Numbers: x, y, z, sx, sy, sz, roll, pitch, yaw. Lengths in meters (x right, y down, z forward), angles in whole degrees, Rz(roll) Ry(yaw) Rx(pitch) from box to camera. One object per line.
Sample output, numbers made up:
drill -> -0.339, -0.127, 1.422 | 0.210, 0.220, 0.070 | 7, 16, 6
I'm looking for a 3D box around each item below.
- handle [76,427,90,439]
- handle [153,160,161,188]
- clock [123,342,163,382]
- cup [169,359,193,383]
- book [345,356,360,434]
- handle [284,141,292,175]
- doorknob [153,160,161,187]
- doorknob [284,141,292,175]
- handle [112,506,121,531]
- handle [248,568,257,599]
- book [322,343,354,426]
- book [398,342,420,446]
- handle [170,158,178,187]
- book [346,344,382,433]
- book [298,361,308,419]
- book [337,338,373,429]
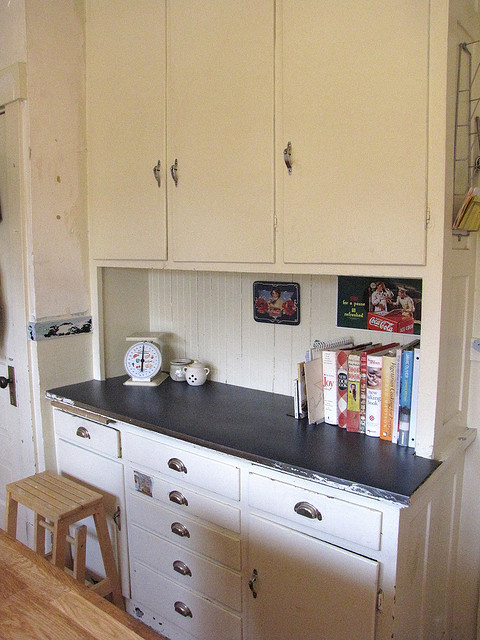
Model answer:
handle -> -0.598, 0.424, 1.971 | 0.036, 0.048, 0.012 | 12, 13, 26
handle -> -0.297, -0.531, 1.879 | 0.027, 0.098, 0.014 | -1, 6, 3
clock -> -0.421, 0.208, 2.253 | 0.148, 0.220, 0.114 | 2, -34, -9
cup -> -0.259, 0.223, 2.293 | 0.094, 0.089, 0.080 | 2, 8, 28
book -> 0.341, 0.218, 1.564 | 0.054, 0.218, 0.188 | 1, 3, 18
handle -> 0.140, -0.473, 1.522 | 0.020, 0.092, 0.023 | -1, 1, -40
doorknob -> -0.300, -0.526, 1.880 | 0.022, 0.103, 0.020 | -9, 14, -19
doorknob -> 0.139, -0.473, 1.514 | 0.019, 0.091, 0.023 | -6, 8, -27
handle -> -0.446, 0.721, 1.889 | 0.036, 0.094, 0.006 | 3, 8, 34
handle -> 0.039, 0.751, 1.477 | 0.024, 0.098, 0.026 | -1, 6, -1
book -> 0.304, 0.205, 1.607 | 0.056, 0.219, 0.190 | 0, 6, 22
book -> 0.464, 0.210, 1.425 | 0.064, 0.250, 0.219 | 2, 0, 24
handle -> -0.231, -0.517, 1.834 | 0.017, 0.105, 0.016 | -3, 8, -15
book -> 0.401, 0.216, 1.643 | 0.065, 0.241, 0.207 | -1, 1, 34
book -> 0.202, 0.228, 1.676 | 0.028, 0.205, 0.096 | -1, 7, 7
book -> 0.346, 0.205, 1.567 | 0.056, 0.213, 0.187 | 3, 8, 26
